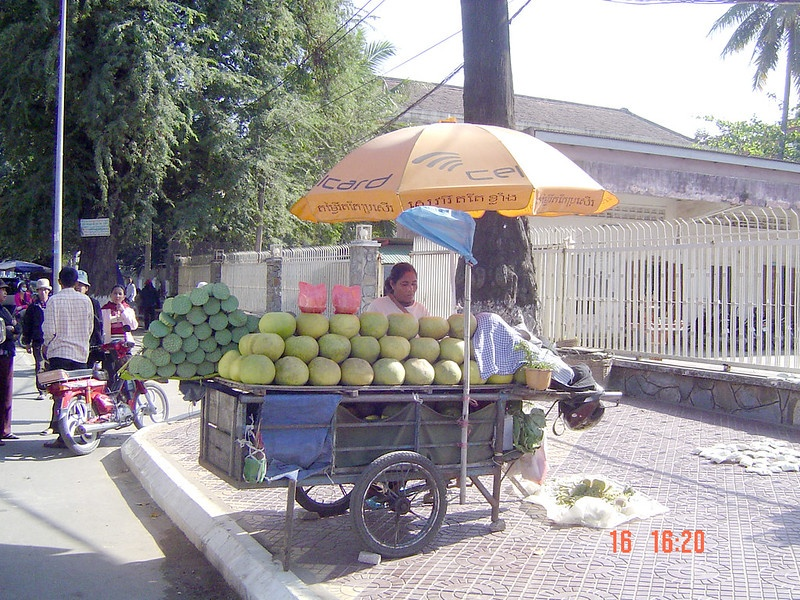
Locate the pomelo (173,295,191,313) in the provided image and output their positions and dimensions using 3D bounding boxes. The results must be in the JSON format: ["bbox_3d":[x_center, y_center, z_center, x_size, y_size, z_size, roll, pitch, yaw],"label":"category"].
[{"bbox_3d":[-1.958,0.038,6.143,0.159,0.177,0.143,-3,6,-14],"label":"pomelo"}]

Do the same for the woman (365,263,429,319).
[{"bbox_3d":[0.003,-0.085,7.715,0.785,0.744,0.435,-7,13,-33],"label":"woman"}]

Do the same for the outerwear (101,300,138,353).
[{"bbox_3d":[-4.448,0.349,10.822,0.544,0.721,0.405,-1,6,-4],"label":"outerwear"}]

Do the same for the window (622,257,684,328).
[{"bbox_3d":[4.628,-0.087,12.165,1.112,1.539,0.119,0,-19,16],"label":"window"}]

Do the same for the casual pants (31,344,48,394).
[{"bbox_3d":[-6.093,1.158,11.540,0.211,1.056,0.302,-5,-8,-16],"label":"casual pants"}]

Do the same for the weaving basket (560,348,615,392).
[{"bbox_3d":[3.300,1.085,12.124,1.034,0.771,1.105,3,4,26],"label":"weaving basket"}]

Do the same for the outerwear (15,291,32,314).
[{"bbox_3d":[-8.673,0.044,15.704,0.354,0.493,0.498,3,-19,-20],"label":"outerwear"}]

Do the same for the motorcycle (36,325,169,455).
[{"bbox_3d":[-4.259,1.321,10.080,0.712,1.623,2.360,-10,-3,13],"label":"motorcycle"}]

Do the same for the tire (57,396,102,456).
[{"bbox_3d":[-4.394,1.713,9.302,0.110,0.611,0.550,-17,-44,17],"label":"tire"}]

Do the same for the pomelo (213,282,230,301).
[{"bbox_3d":[-1.635,-0.081,6.240,0.149,0.134,0.165,-3,6,-14],"label":"pomelo"}]

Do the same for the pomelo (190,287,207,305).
[{"bbox_3d":[-1.811,-0.031,6.145,0.161,0.152,0.088,2,6,29],"label":"pomelo"}]

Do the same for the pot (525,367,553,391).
[{"bbox_3d":[1.274,0.743,6.400,0.191,0.147,0.203,2,-8,0],"label":"pot"}]

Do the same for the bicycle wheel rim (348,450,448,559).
[{"bbox_3d":[-0.026,1.840,6.185,0.826,0.941,0.148,-4,9,-26],"label":"bicycle wheel rim"}]

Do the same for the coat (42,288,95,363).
[{"bbox_3d":[-4.651,0.334,9.570,0.563,1.061,0.715,-10,-16,40],"label":"coat"}]
